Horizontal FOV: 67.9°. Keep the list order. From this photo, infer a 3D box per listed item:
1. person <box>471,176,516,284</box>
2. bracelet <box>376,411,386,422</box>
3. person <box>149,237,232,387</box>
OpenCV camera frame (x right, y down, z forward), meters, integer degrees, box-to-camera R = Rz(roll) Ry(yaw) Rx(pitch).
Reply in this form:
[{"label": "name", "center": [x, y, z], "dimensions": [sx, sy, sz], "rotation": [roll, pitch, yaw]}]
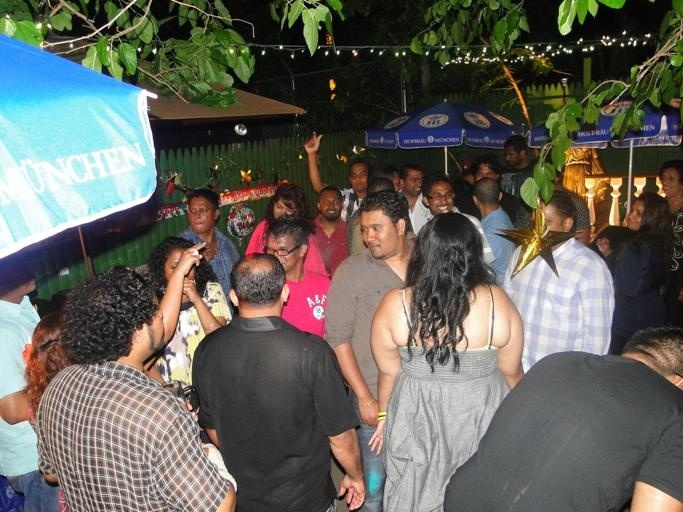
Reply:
[{"label": "person", "center": [1.784, -0.087, 5.945], "dimensions": [0.485, 1.560, 0.455], "rotation": [-12, 33, -2]}, {"label": "bracelet", "center": [0.278, 1.151, 3.600], "dimensions": [0.071, 0.073, 0.058], "rotation": [5, 55, 9]}, {"label": "person", "center": [-1.289, 0.634, 4.043], "dimensions": [0.606, 1.650, 0.552], "rotation": [2, 27, -17]}]
